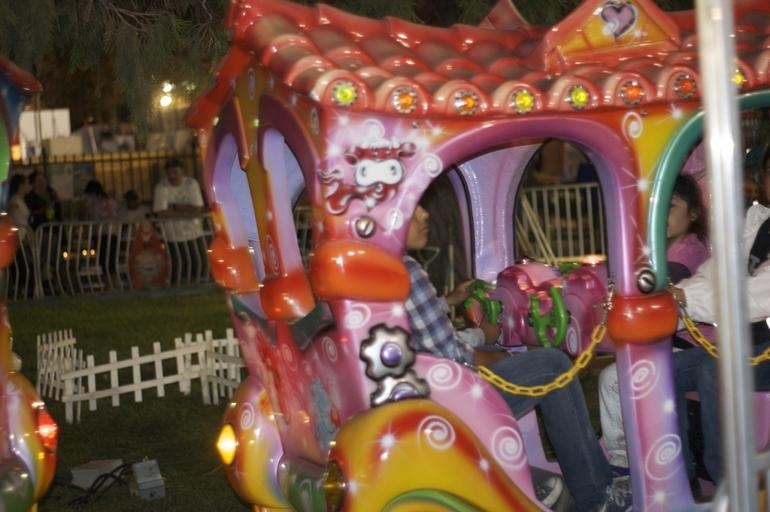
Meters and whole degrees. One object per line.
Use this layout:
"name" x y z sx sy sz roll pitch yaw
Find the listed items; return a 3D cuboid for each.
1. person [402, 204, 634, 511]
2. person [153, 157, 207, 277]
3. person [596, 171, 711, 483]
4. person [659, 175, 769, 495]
"person" 0.664 0.561 3.516 1.303 1.655 0.993 -5 9 -21
"person" -3.889 -0.626 12.284 0.898 2.472 1.517 -4 9 -17
"person" 1.747 0.441 4.127 0.931 1.806 0.432 9 0 30
"person" 1.896 0.426 3.629 0.510 1.803 1.174 3 10 25
